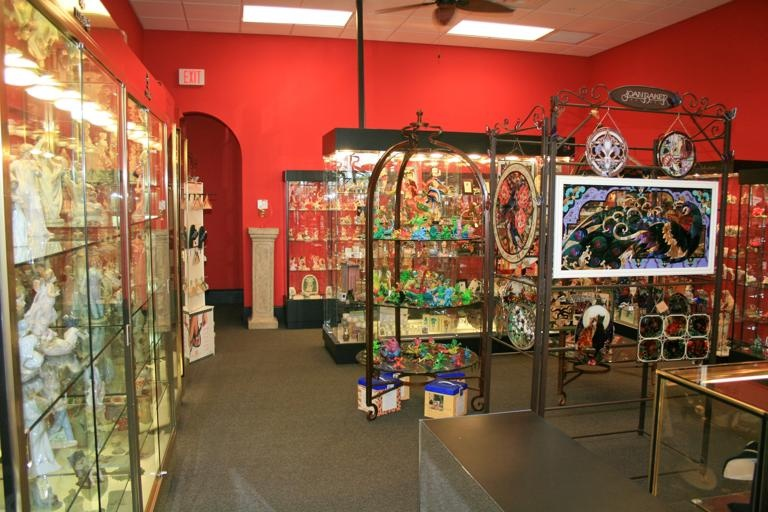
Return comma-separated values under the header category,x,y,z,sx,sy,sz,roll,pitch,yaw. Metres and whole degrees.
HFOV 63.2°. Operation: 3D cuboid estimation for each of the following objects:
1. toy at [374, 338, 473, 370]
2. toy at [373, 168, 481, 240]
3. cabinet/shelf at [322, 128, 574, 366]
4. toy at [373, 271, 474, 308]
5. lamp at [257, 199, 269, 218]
category,x,y,z,sx,sy,sz,roll,pitch,yaw
toy,0.408,0.941,5.903,0.440,0.151,0.428,4,11,17
toy,0.426,-0.456,6.240,0.926,0.527,0.902,-4,4,-39
cabinet/shelf,0.576,-0.071,6.084,2.875,2.818,1.605,-1,4,-12
toy,0.426,0.303,6.020,1.057,0.270,0.707,-4,10,-24
lamp,-1.811,-0.704,9.307,0.169,0.271,0.080,-2,9,-14
